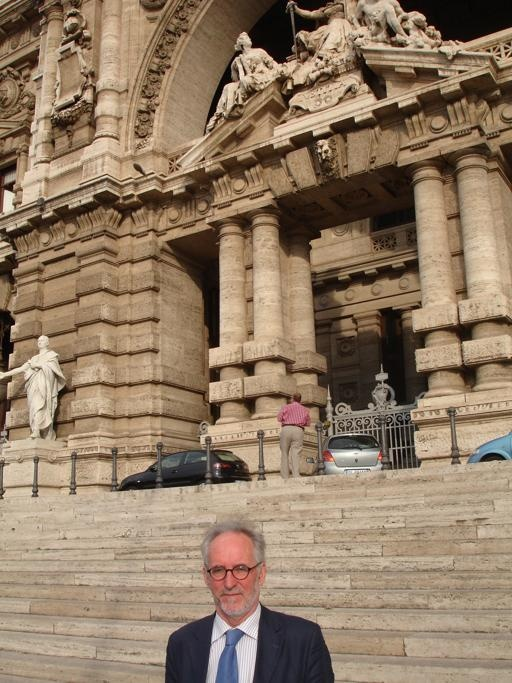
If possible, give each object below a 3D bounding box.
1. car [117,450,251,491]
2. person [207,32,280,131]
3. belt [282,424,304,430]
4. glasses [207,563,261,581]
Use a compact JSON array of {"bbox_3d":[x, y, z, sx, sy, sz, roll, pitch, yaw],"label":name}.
[{"bbox_3d":[-1.441,2.549,16.796,2.366,0.850,1.146,-10,-25,26],"label":"car"},{"bbox_3d":[-0.193,-6.833,20.972,1.621,2.249,0.864,-15,-52,-11],"label":"person"},{"bbox_3d":[0.655,1.514,15.100,0.366,0.103,0.200,-12,0,2],"label":"belt"},{"bbox_3d":[-0.114,1.088,3.999,0.225,0.093,0.063,-12,0,-3],"label":"glasses"}]
